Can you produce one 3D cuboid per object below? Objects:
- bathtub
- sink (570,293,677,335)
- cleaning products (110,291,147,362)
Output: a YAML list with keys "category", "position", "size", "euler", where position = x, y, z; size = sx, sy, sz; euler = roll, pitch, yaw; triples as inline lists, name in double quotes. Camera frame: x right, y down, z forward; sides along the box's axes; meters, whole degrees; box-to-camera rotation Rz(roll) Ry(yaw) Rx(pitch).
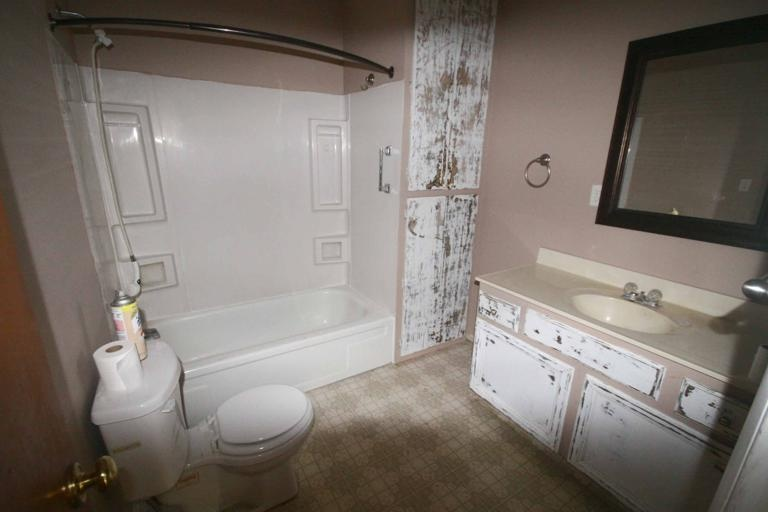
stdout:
- category: "bathtub"
  position: [-0.811, 0.621, 3.516]
  size: [1.455, 0.338, 0.815]
  euler: [-7, 20, -28]
- category: "sink"
  position: [1.394, 0.343, 2.747]
  size: [0.265, 0.101, 0.333]
  euler: [-10, 22, -28]
- category: "cleaning products"
  position: [-1.333, 0.371, 2.499]
  size: [0.140, 0.402, 0.139]
  euler: [0, 21, 7]
